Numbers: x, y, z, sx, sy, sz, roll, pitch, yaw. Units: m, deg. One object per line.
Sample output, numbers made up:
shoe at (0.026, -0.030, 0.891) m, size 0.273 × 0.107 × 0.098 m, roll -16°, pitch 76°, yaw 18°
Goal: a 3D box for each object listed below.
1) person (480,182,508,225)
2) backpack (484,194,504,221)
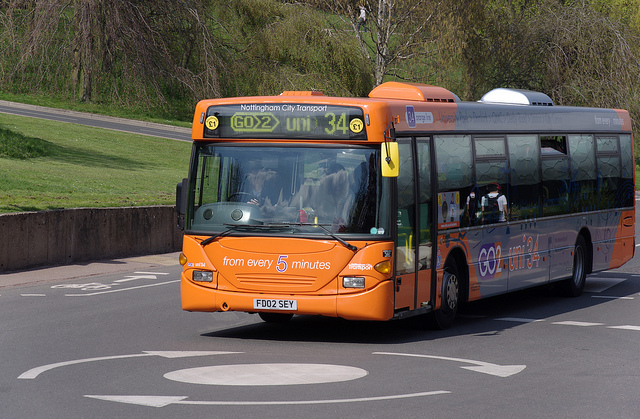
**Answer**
person at (3.320, -0.091, 14.791) m, size 0.455 × 0.861 × 0.848 m, roll 0°, pitch -5°, yaw 7°
backpack at (3.268, -0.026, 14.728) m, size 0.290 × 0.539 × 0.491 m, roll -3°, pitch -5°, yaw 24°
